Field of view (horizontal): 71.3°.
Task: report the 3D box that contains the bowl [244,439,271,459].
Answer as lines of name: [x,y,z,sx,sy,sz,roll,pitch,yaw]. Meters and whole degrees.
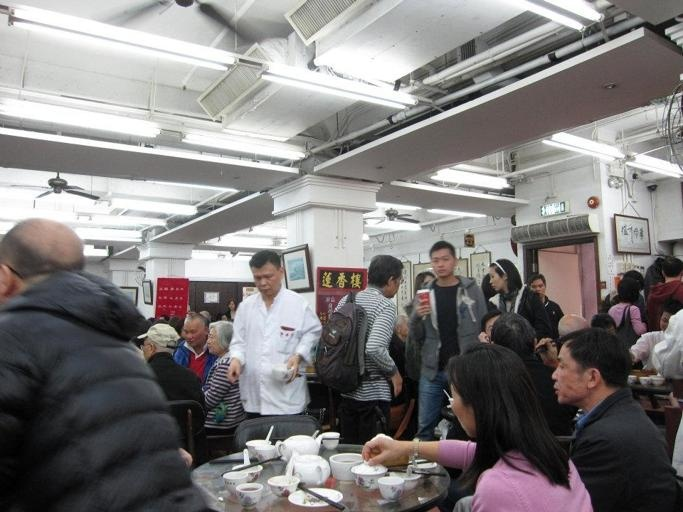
bowl: [-0.382,0.911,2.246,0.086,0.057,0.087,-1,-9,0]

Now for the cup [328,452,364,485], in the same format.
cup: [0.018,0.915,2.019,0.121,0.064,0.133,0,-12,2]

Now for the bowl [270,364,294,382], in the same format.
bowl: [-0.364,0.748,2.977,0.120,0.114,0.073,4,-8,-42]

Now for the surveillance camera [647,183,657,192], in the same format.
surveillance camera: [5.394,-1.184,8.274,0.176,0.126,0.094,1,-6,-20]

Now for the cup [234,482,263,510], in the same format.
cup: [-0.354,0.930,1.833,0.086,0.061,0.089,0,-16,0]

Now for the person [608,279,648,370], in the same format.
person: [3.115,0.860,5.081,0.400,1.173,0.391,-4,5,8]

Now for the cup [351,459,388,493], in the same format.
cup: [0.112,0.890,1.916,0.110,0.077,0.109,0,-17,0]

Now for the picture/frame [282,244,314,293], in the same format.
picture/frame: [-0.557,0.176,6.276,0.066,0.643,0.591,-3,-6,-38]

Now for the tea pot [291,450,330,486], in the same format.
tea pot: [-0.125,0.882,1.959,0.112,0.086,0.141,5,-2,-22]

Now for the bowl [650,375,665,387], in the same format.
bowl: [2.500,1.001,3.776,0.084,0.051,0.085,-2,-9,0]

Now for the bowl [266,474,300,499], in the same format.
bowl: [-0.236,0.919,1.884,0.086,0.034,0.086,0,-5,0]

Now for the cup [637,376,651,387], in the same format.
cup: [2.448,1.017,3.844,0.077,0.056,0.078,0,-2,0]

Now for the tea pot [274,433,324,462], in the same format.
tea pot: [-0.207,0.862,2.157,0.154,0.094,0.122,0,-9,9]

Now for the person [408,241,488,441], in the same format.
person: [0.863,0.902,3.873,0.660,1.913,0.601,1,-3,-6]

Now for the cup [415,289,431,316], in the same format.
cup: [0.628,0.359,3.625,0.105,0.205,0.141,-2,-6,10]

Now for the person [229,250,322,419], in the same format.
person: [-0.460,0.540,3.257,0.644,1.140,0.441,-1,-6,-3]

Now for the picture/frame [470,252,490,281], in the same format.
picture/frame: [2.870,0.219,9.832,0.071,0.716,0.585,-4,5,-28]

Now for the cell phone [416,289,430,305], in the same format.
cell phone: [0.622,0.316,3.585,0.101,0.102,0.103,-11,-14,39]

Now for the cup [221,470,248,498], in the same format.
cup: [-0.438,0.936,1.943,0.084,0.057,0.084,-1,-10,0]

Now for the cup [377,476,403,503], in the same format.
cup: [0.191,0.897,1.812,0.083,0.055,0.083,-1,-19,0]

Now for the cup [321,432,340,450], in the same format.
cup: [-0.055,0.920,2.360,0.090,0.060,0.089,0,-18,0]

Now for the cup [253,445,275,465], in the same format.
cup: [-0.358,0.929,2.200,0.076,0.052,0.074,-4,-13,-1]

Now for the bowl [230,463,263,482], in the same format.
bowl: [-0.384,0.926,2.030,0.077,0.030,0.078,1,-7,0]
